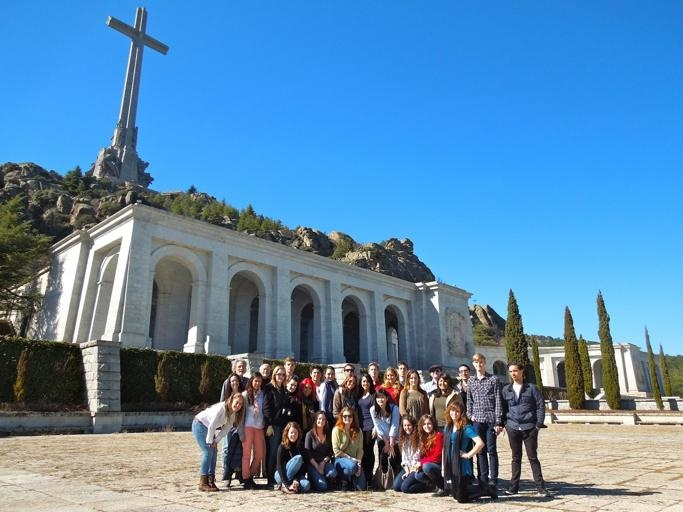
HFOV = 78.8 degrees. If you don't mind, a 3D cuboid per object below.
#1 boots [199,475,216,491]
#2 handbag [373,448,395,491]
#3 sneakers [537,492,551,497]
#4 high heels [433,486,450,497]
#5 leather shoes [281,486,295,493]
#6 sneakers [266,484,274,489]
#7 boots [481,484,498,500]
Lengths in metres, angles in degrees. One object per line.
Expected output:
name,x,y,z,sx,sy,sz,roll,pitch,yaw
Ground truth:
boots,-2.270,3.869,7.228,0.282,0.274,0.230,-5,-17,16
handbag,0.806,4.040,8.057,0.425,0.656,0.289,9,-21,-39
sneakers,3.412,3.946,6.976,0.084,0.107,0.255,1,-32,0
high heels,1.741,4.049,7.226,0.340,0.141,0.126,10,-36,-20
leather shoes,-0.924,4.048,7.289,0.252,0.105,0.088,-19,-25,35
sneakers,-1.310,4.262,7.778,0.113,0.046,0.085,-3,-12,4
boots,2.505,3.905,7.014,0.248,0.241,0.282,-7,-17,21
